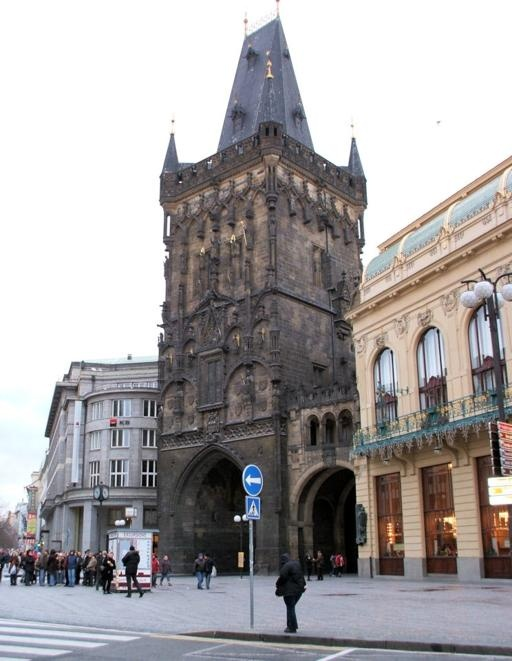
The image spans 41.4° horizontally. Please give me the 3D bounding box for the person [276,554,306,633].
[{"bbox_3d":[0.530,3.982,10.254,0.422,1.090,0.624,-2,-18,0],"label":"person"}]

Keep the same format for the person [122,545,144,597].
[{"bbox_3d":[-3.870,7.614,21.402,0.597,1.529,2.512,1,-18,-9],"label":"person"}]
